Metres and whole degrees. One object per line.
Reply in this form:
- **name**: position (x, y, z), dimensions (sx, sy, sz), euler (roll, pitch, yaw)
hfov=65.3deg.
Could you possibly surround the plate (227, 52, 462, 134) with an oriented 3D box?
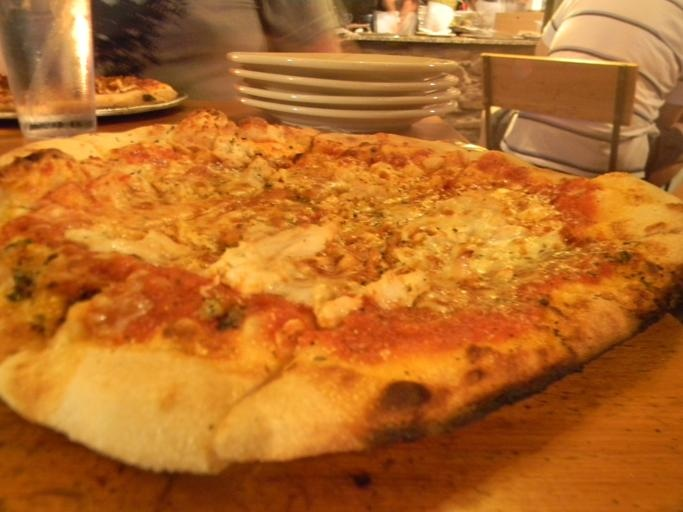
- **plate**: position (-0.040, -0.401, 1.292), dimensions (0.355, 0.093, 0.338), euler (-14, 22, -37)
